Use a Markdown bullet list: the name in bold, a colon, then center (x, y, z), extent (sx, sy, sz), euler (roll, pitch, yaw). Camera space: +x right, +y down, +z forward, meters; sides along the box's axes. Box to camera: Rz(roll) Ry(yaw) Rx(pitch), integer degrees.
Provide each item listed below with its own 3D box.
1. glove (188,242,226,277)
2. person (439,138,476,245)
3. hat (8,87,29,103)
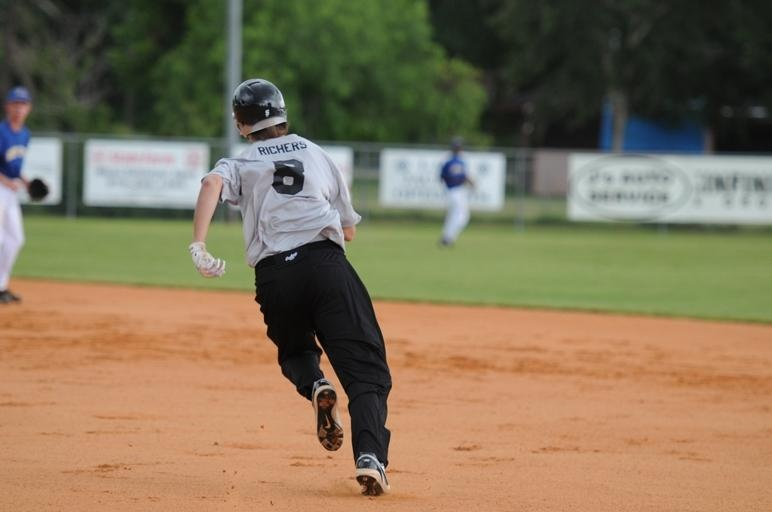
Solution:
- **glove**: center (-2.806, 0.078, 24.408), extent (0.442, 0.283, 0.610), euler (9, 30, -41)
- **person**: center (1.469, -1.238, 31.865), extent (0.698, 2.154, 1.595), euler (1, 3, 2)
- **hat**: center (-6.463, -2.737, 27.261), extent (0.439, 0.276, 0.687), euler (1, 5, -12)
